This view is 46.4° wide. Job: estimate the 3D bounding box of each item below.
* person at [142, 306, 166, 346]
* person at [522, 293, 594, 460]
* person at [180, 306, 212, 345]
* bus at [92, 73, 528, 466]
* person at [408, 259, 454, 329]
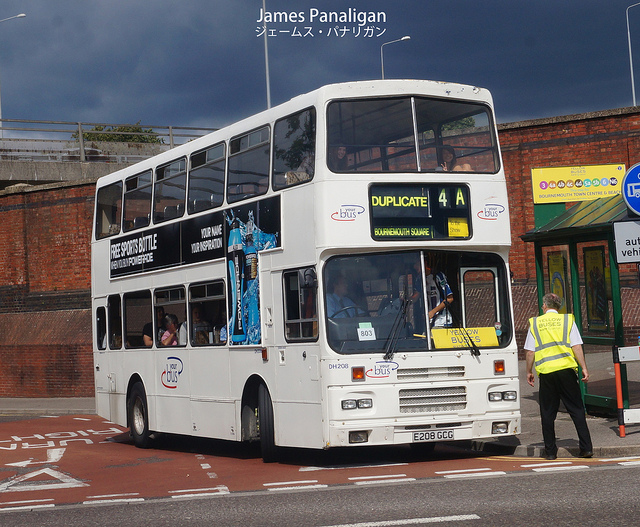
[{"bbox_3d":[-3.197,1.229,14.567,0.205,0.775,0.699,4,9,-34],"label":"person"},{"bbox_3d":[3.157,1.513,9.992,0.750,2.225,0.455,-5,-6,21],"label":"person"},{"bbox_3d":[-2.134,1.099,13.485,0.573,0.912,0.550,-1,2,38],"label":"person"},{"bbox_3d":[-0.987,0.445,14.209,3.725,5.920,10.462,2,-8,-38],"label":"bus"},{"bbox_3d":[1.458,0.440,10.041,0.570,1.027,0.579,4,-18,-25],"label":"person"}]
